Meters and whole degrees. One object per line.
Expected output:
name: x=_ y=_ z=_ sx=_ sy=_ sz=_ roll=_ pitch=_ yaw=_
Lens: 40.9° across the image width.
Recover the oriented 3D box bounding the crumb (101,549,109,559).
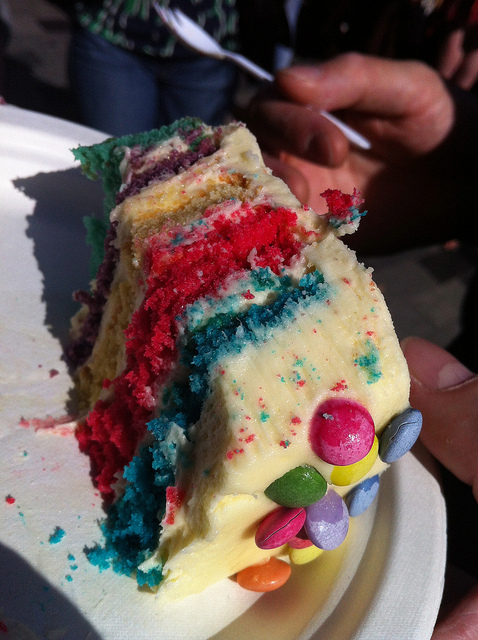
crumb: x=-0.268 y=0.466 z=1.280 sx=0.014 sy=0.004 sz=0.016 roll=-8 pitch=51 yaw=-39

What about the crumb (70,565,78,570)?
crumb: x=-0.328 y=0.488 z=1.268 sx=0.011 sy=0.003 sz=0.009 roll=2 pitch=9 yaw=-10

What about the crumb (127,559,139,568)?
crumb: x=-0.209 y=0.477 z=1.260 sx=0.018 sy=0.006 sz=0.010 roll=14 pitch=84 yaw=28

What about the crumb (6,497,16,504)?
crumb: x=-0.468 y=0.369 z=1.314 sx=0.014 sy=0.006 sz=0.013 roll=-16 pitch=53 yaw=-20

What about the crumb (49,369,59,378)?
crumb: x=-0.451 y=0.128 z=1.545 sx=0.018 sy=0.006 sz=0.019 roll=-13 pitch=55 yaw=-19
